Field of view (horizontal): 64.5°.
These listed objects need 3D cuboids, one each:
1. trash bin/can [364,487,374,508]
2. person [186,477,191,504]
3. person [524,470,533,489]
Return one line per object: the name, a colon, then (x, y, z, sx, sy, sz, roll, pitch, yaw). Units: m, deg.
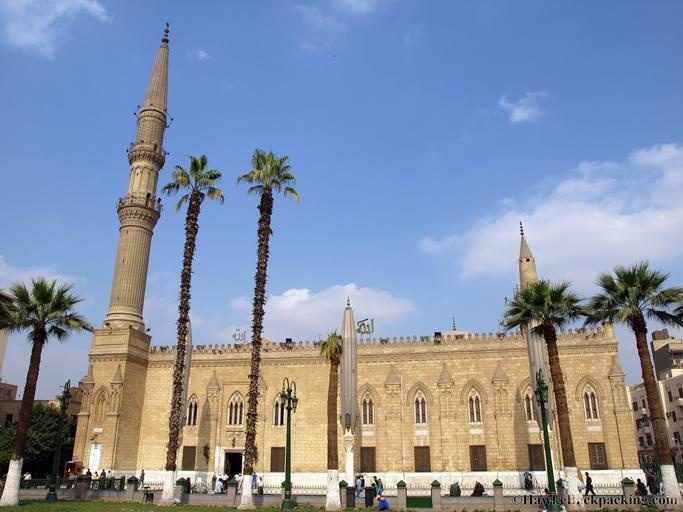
trash bin/can: (1.596, 12.999, 29.302, 0.706, 1.180, 0.748, 3, -16, 0)
person: (-8.667, 13.228, 30.584, 0.340, 1.170, 1.346, 5, -24, -15)
person: (12.145, 14.570, 35.229, 0.560, 1.082, 1.627, -8, -24, 16)
